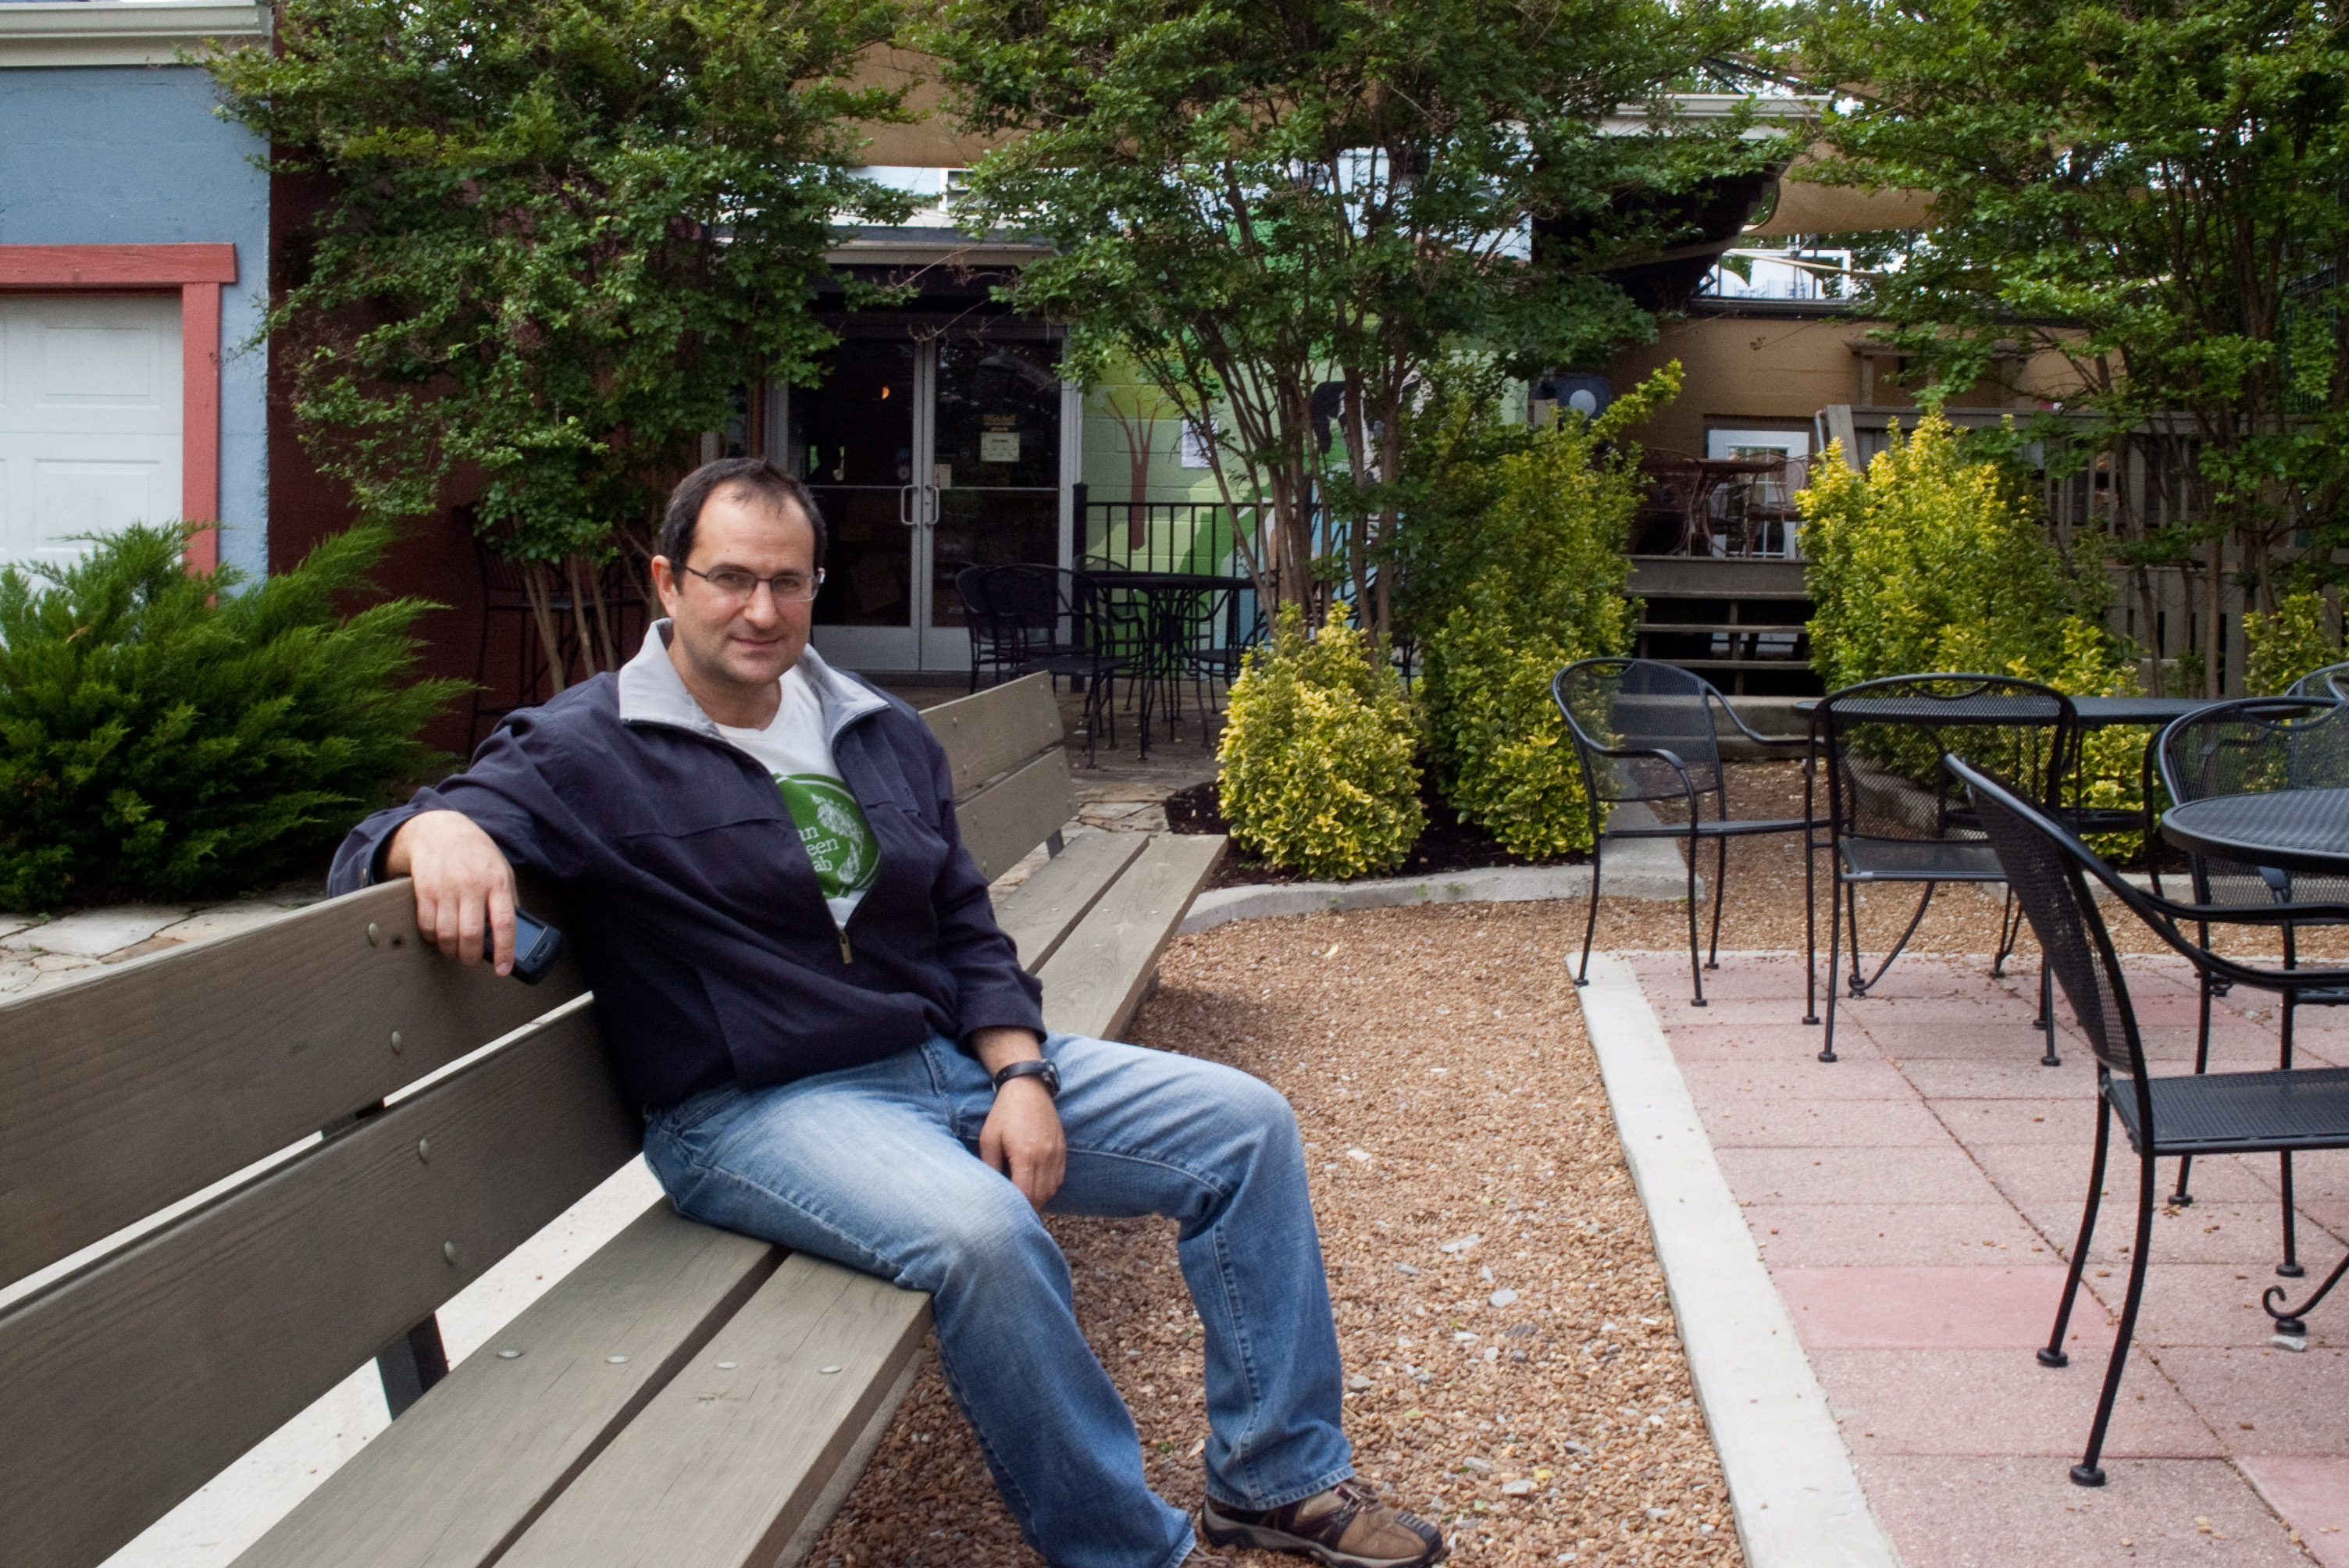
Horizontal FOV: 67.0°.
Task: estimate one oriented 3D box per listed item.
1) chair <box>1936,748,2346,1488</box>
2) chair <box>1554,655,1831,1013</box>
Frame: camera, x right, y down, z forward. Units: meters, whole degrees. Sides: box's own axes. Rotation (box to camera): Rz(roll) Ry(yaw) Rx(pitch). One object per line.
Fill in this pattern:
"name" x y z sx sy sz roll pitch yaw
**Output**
"chair" 1.975 0.585 3.565 0.773 1.204 1.088 3 15 26
"chair" 1.761 0.201 6.768 0.699 0.936 0.700 -7 -7 34
